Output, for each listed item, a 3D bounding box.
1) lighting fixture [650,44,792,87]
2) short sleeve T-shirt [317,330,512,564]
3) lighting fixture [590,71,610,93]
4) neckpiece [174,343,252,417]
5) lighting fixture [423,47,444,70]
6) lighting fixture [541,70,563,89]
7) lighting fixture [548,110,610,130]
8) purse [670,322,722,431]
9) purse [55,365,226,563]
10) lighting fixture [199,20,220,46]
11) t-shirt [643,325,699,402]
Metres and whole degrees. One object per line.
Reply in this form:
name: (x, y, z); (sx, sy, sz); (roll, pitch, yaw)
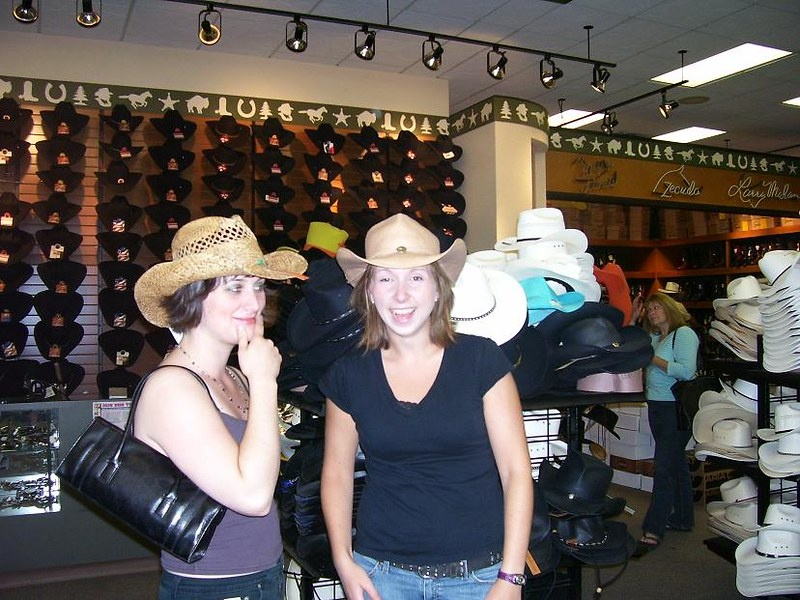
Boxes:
lighting fixture: (3.747, -2.725, 7.646); (0.674, 0.122, 1.325); (-3, 1, -38)
short sleeve T-shirt: (0.070, 0.553, 2.404); (0.875, 0.793, 0.445); (-4, -7, 7)
lighting fixture: (2.300, -2.517, 7.492); (0.191, 0.312, 0.485); (-2, 1, 17)
neckpiece: (-0.748, 0.320, 2.407); (0.058, 0.324, 0.239); (-38, 29, -2)
lighting fixture: (0.336, -2.456, 6.572); (0.192, 0.166, 0.300); (-2, 1, 14)
lighting fixture: (1.644, -2.362, 7.076); (0.208, 0.155, 0.272); (-10, 10, 2)
lighting fixture: (2.546, -2.672, 9.626); (0.513, 0.110, 0.455); (-2, 1, -22)
purse: (2.498, 0.650, 5.449); (0.455, 0.811, 0.612); (4, -4, -10)
purse: (-0.809, 0.551, 2.188); (0.594, 0.589, 0.224); (29, 28, 17)
lighting fixture: (-1.734, -2.427, 5.869); (0.133, 0.204, 0.213); (-2, 1, 31)
t-shirt: (2.236, 0.505, 5.439); (0.419, 0.606, 0.660); (4, -1, 0)
